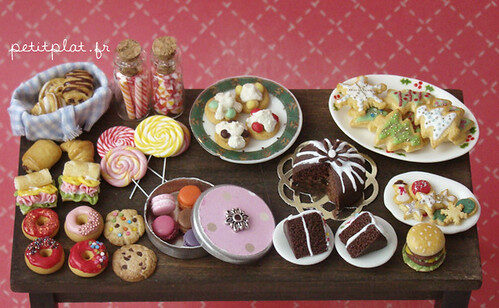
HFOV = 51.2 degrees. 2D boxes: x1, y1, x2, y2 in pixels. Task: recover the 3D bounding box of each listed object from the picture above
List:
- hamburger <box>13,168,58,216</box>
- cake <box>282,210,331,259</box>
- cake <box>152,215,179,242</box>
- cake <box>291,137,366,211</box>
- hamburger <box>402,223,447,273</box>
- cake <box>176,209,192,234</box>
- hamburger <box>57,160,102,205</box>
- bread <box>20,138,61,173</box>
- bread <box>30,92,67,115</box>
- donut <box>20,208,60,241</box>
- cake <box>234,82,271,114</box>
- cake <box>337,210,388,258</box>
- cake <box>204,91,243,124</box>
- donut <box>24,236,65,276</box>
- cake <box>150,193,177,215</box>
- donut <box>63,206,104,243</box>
[{"bbox_3d":[-1.746,0.264,4.117,0.442,0.236,0.416,4,28,-33],"label":"hamburger"},{"bbox_3d":[0.436,0.599,3.882,0.325,0.329,0.121,-16,-13,-9],"label":"cake"},{"bbox_3d":[-0.656,0.562,4.069,0.232,0.210,0.120,4,-9,36],"label":"cake"},{"bbox_3d":[0.658,0.146,4.265,0.607,0.381,0.566,12,31,18],"label":"cake"},{"bbox_3d":[1.338,0.710,3.955,0.314,0.239,0.331,-23,30,-23],"label":"hamburger"},{"bbox_3d":[-0.505,0.514,4.005,0.164,0.161,0.109,1,-22,-17],"label":"cake"},{"bbox_3d":[-1.331,0.200,4.147,0.391,0.393,0.203,-12,-43,-23],"label":"hamburger"},{"bbox_3d":[-1.681,0.027,4.264,0.295,0.228,0.148,-46,-17,-28],"label":"bread"},{"bbox_3d":[-1.674,-0.398,4.237,0.186,0.217,0.079,2,-43,8],"label":"bread"},{"bbox_3d":[-1.611,0.547,4.002,0.275,0.246,0.116,2,-3,-10],"label":"donut"},{"bbox_3d":[0.031,-0.476,4.501,0.261,0.261,0.158,-6,-22,-4],"label":"cake"},{"bbox_3d":[0.853,0.593,3.866,0.321,0.323,0.117,-23,13,29],"label":"cake"},{"bbox_3d":[-0.228,-0.376,4.349,0.277,0.276,0.167,-9,-34,-10],"label":"cake"},{"bbox_3d":[-1.559,0.751,3.928,0.289,0.281,0.105,-20,-25,-45],"label":"donut"},{"bbox_3d":[-0.686,0.403,4.115,0.194,0.197,0.112,-8,27,10],"label":"cake"},{"bbox_3d":[-1.283,0.543,4.005,0.283,0.275,0.114,1,-3,8],"label":"donut"}]
